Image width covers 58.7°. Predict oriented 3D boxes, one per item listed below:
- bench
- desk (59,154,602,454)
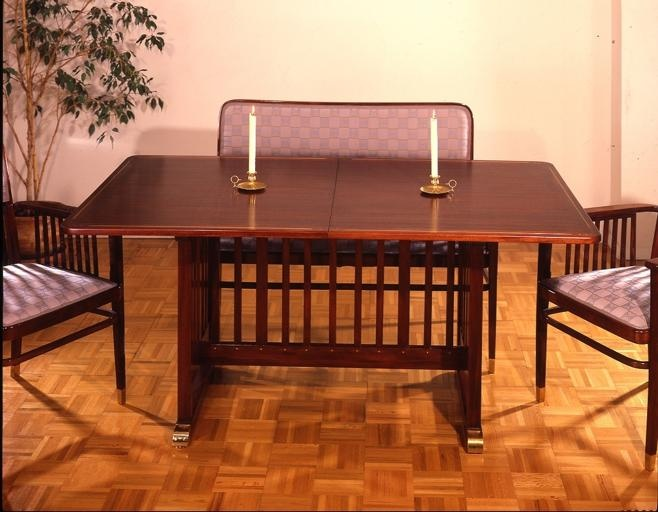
[{"bbox_3d":[0.094,-0.077,2.336,1.203,0.962,0.518,1,11,2],"label":"bench"},{"bbox_3d":[0.005,0.126,2.163,1.753,1.021,0.787,1,6,3],"label":"desk"}]
